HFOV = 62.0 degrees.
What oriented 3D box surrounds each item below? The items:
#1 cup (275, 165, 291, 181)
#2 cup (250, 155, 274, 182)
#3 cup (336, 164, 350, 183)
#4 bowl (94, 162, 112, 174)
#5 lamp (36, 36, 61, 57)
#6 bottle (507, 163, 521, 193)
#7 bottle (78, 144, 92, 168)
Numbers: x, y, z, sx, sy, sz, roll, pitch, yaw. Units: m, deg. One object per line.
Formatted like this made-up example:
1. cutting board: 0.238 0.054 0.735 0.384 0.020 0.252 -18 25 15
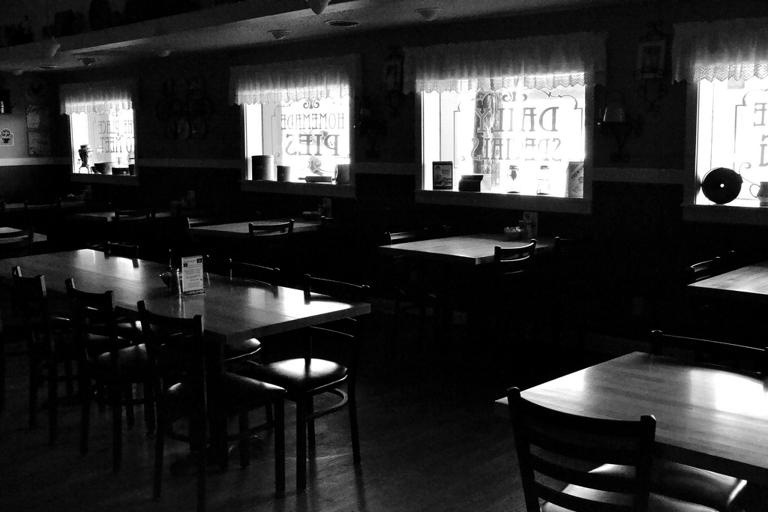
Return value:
1. cup: -1.305 -1.060 8.261 0.173 0.195 0.155 -1 14 -4
2. cup: -1.591 -1.140 8.364 0.343 0.342 0.326 1 4 0
3. cup: -0.490 -0.979 7.622 0.243 0.212 0.124 2 9 14
4. bowl: -4.610 -1.427 10.421 0.224 0.133 0.225 -1 3 0
5. lamp: -3.772 -2.336 7.164 0.169 0.210 0.723 -8 15 -30
6. bottle: 1.340 -0.800 6.601 0.146 0.289 0.063 0 1 12
7. bottle: -5.019 -1.654 10.651 0.173 0.404 0.405 -7 15 -26
